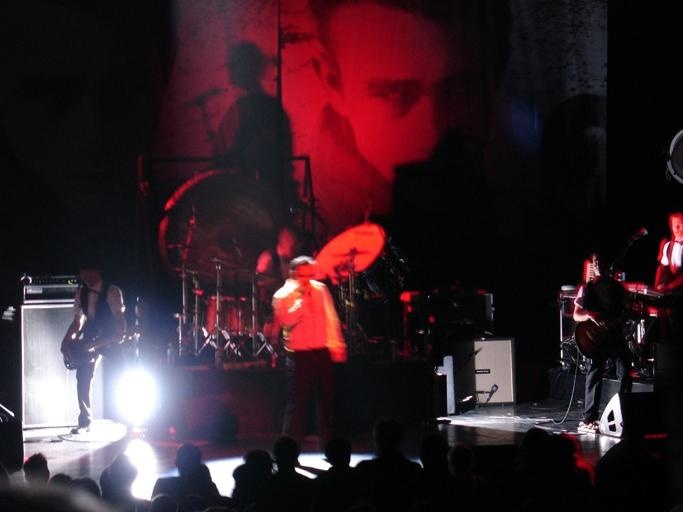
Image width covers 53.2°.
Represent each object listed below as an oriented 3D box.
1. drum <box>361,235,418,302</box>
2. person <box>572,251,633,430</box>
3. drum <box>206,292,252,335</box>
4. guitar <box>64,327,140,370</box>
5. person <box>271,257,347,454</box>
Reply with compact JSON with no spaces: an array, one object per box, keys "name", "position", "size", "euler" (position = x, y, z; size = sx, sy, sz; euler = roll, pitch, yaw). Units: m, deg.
[{"name":"drum","position":[0.640,0.140,9.023],"size":[0.446,0.891,0.807],"euler":[-6,-14,25]},{"name":"person","position":[2.818,0.893,7.355],"size":[0.550,1.950,0.431],"euler":[-4,-13,19]},{"name":"drum","position":[-1.383,0.674,8.323],"size":[0.469,0.491,0.516],"euler":[0,-1,-27]},{"name":"guitar","position":[-2.689,1.021,7.674],"size":[0.766,0.381,0.742],"euler":[-4,3,-16]},{"name":"person","position":[-0.300,0.888,6.516],"size":[0.695,1.736,0.391],"euler":[1,-12,-7]}]
